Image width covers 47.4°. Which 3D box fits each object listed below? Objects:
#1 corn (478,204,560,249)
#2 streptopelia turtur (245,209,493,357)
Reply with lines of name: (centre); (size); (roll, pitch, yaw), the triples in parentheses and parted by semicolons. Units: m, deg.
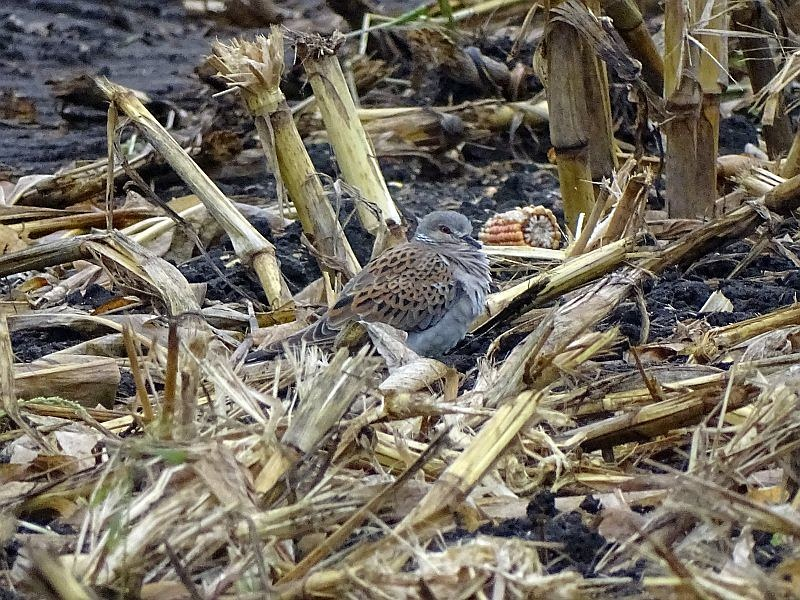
corn: (0.756, -0.448, 5.707); (0.258, 0.182, 0.435); (-8, 3, -39)
streptopelia turtur: (-0.107, -0.094, 4.562); (1.126, 0.663, 0.562); (-4, 11, -7)
